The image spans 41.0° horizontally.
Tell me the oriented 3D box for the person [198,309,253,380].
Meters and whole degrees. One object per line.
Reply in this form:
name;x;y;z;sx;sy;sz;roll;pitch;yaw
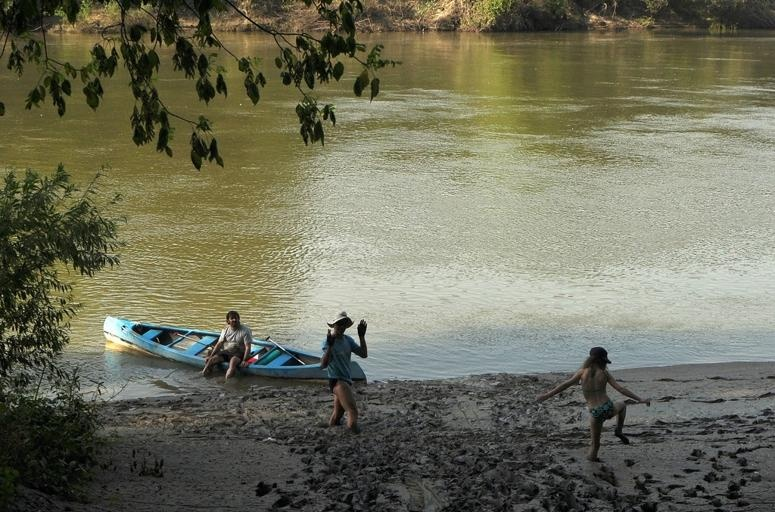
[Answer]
person;-3.783;2.179;24.455;1.306;1.661;1.064;2;4;-13

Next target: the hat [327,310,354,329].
hat;-0.940;1.236;20.574;0.420;0.308;0.829;-4;13;-3

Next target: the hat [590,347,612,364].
hat;3.947;1.805;18.890;0.527;0.236;0.321;0;15;-19
